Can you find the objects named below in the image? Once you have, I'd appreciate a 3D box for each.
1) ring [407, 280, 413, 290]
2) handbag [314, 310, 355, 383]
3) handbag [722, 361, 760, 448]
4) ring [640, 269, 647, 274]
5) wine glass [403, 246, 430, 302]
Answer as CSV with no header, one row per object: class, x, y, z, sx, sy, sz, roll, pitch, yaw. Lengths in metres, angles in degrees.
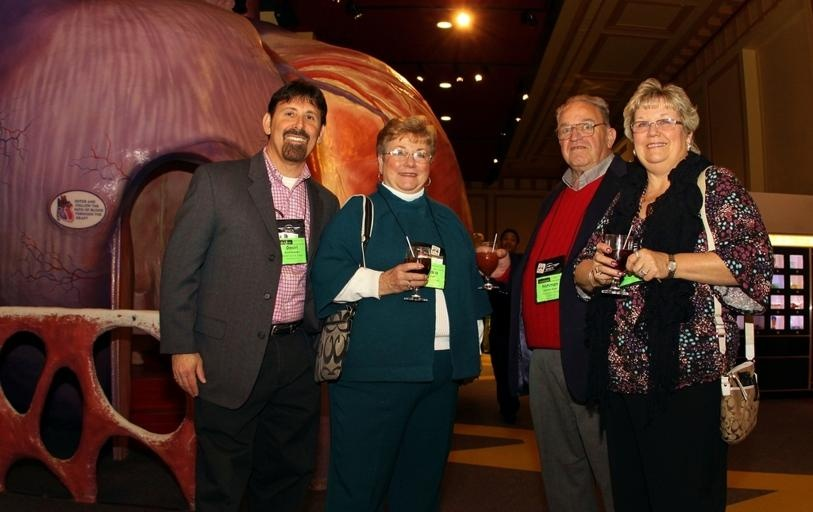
ring,0.018,0.163,3.107,0.030,0.042,0.015,0,15,1
handbag,-0.403,0.496,3.197,0.222,0.441,0.110,2,-3,4
handbag,1.676,0.758,2.900,0.203,0.424,0.110,2,-3,6
ring,1.171,0.080,2.843,0.020,0.020,0.005,-5,-9,18
wine glass,0.061,0.099,3.155,0.137,0.319,0.246,2,-2,-1
